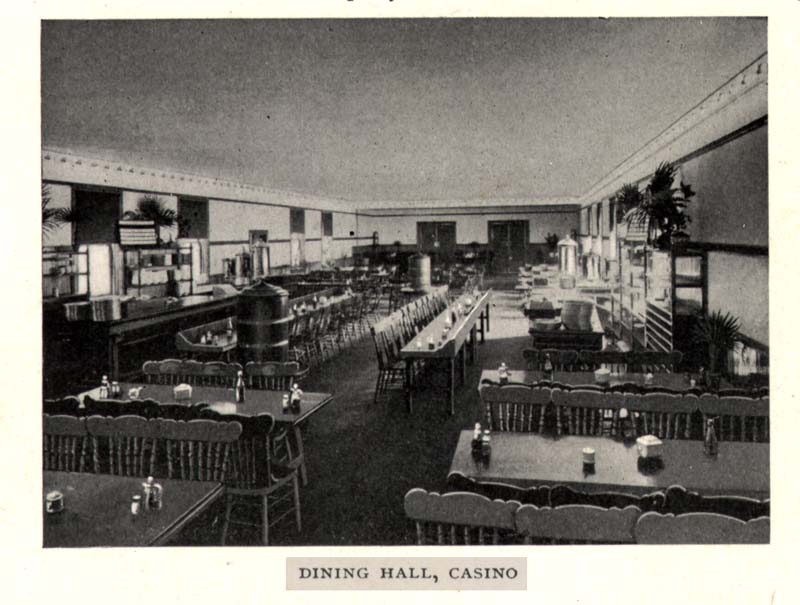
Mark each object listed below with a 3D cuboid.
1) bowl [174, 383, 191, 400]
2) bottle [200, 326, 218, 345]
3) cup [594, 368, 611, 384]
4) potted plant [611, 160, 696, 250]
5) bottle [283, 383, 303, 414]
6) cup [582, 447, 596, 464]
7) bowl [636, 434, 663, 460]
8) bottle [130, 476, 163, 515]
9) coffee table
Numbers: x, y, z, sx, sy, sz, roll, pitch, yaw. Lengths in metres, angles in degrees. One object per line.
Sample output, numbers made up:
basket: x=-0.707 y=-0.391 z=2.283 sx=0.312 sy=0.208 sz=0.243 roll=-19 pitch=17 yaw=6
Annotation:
bowl: x=-2.156 y=0.882 z=6.495 sx=0.129 sy=0.110 sz=0.138 roll=0 pitch=8 yaw=0
bottle: x=-2.648 y=0.474 z=9.027 sx=0.208 sy=0.255 sz=0.230 roll=0 pitch=9 yaw=-1
cup: x=2.046 y=0.724 z=6.572 sx=0.126 sy=0.146 sz=0.137 roll=-10 pitch=20 yaw=3
potted plant: x=3.288 y=-1.265 z=8.358 sx=0.845 sy=1.212 sz=1.970 roll=1 pitch=3 yaw=15
bottle: x=-1.062 y=0.941 z=6.248 sx=0.153 sy=0.276 sz=0.255 roll=2 pitch=6 yaw=4
cup: x=1.493 y=1.193 z=5.178 sx=0.106 sy=0.130 sz=0.119 roll=1 pitch=10 yaw=36
bowl: x=2.014 y=1.154 z=5.267 sx=0.158 sy=0.139 sz=0.170 roll=-4 pitch=5 yaw=0
bottle: x=-1.846 y=1.432 z=4.804 sx=0.181 sy=0.100 sz=0.262 roll=1 pitch=13 yaw=-5
coffee table: x=2.132 y=0.339 z=8.123 sx=0.712 sy=0.653 sz=1.178 roll=0 pitch=9 yaw=7
